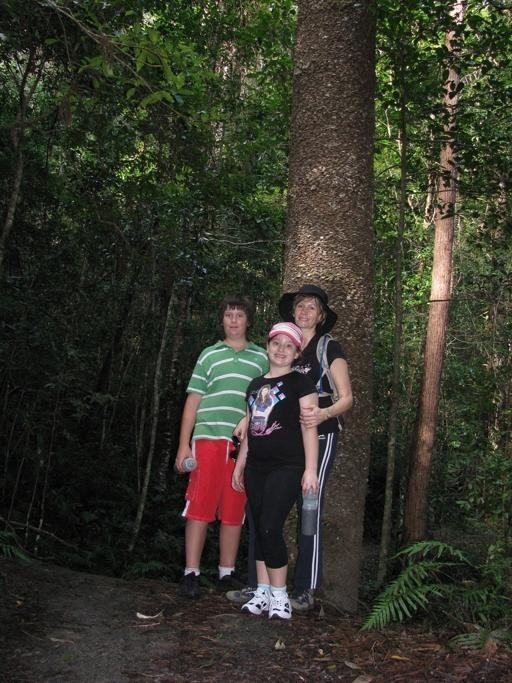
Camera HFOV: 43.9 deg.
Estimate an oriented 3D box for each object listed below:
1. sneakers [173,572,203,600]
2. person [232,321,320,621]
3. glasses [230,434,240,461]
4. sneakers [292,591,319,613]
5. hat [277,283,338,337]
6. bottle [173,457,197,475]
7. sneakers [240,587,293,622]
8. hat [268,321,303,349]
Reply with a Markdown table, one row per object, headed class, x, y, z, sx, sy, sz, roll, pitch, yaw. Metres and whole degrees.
| class | x | y | z | sx | sy | sz | roll | pitch | yaw |
| --- | --- | --- | --- | --- | --- | --- | --- | --- | --- |
| sneakers | -0.418 | 1.521 | 4.014 | 0.148 | 0.164 | 0.269 | 5 | -2 | -4 |
| person | 0.119 | 0.745 | 3.734 | 0.355 | 1.602 | 0.522 | 5 | -1 | -17 |
| glasses | -0.140 | 0.696 | 4.195 | 0.062 | 0.141 | 0.089 | 6 | -3 | -15 |
| sneakers | 0.301 | 1.632 | 4.004 | 0.076 | 0.083 | 0.221 | 11 | -14 | 36 |
| hat | 0.314 | -0.217 | 4.082 | 0.339 | 0.194 | 0.375 | 12 | -39 | 18 |
| bottle | -0.417 | 0.792 | 4.023 | 0.118 | 0.107 | 0.161 | 17 | -24 | -19 |
| sneakers | 0.080 | 1.471 | 3.565 | 0.190 | 0.110 | 0.292 | -8 | -32 | 20 |
| hat | 0.176 | -0.038 | 3.690 | 0.144 | 0.105 | 0.178 | 12 | -1 | 6 |
